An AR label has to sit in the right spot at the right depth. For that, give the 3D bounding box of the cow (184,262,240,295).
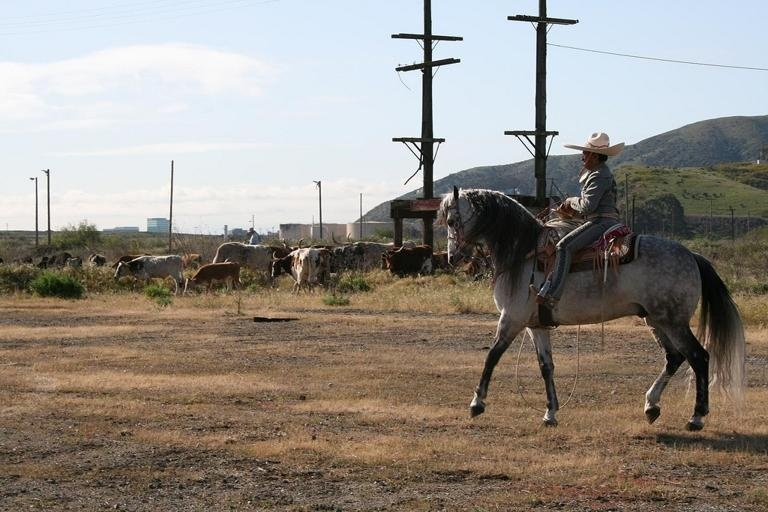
[{"bbox_3d":[-6.805,0.825,43.885,2.141,1.323,2.283,-2,11,-10],"label":"cow"}]

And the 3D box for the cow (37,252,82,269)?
[{"bbox_3d":[-17.323,0.228,58.767,2.412,1.283,0.564,4,3,35],"label":"cow"}]
